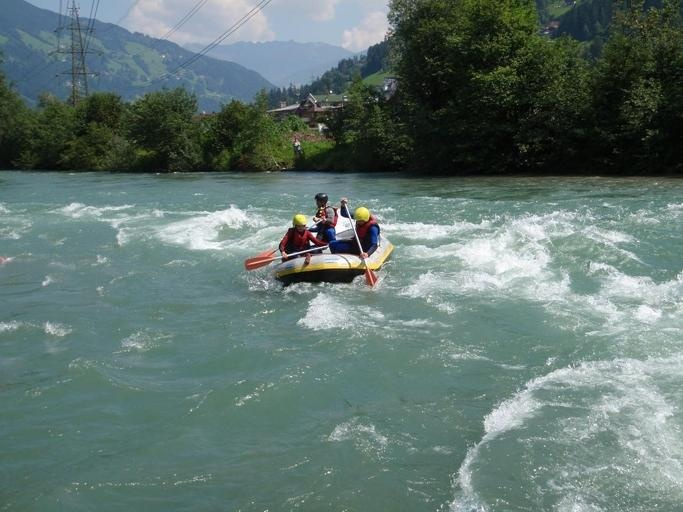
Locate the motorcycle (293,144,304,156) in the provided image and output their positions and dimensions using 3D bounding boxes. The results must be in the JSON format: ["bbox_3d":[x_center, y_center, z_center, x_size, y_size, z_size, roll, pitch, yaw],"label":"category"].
[{"bbox_3d":[-3.984,-9.829,60.309,0.802,1.054,1.644,-4,11,-2],"label":"motorcycle"}]

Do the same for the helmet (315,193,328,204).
[{"bbox_3d":[-0.632,-1.646,18.604,0.391,0.339,0.316,0,5,40],"label":"helmet"}]

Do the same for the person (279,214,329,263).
[{"bbox_3d":[-1.109,-0.448,17.103,1.393,1.206,0.963,-7,16,-27],"label":"person"}]

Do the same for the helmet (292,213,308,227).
[{"bbox_3d":[-1.147,-0.931,17.088,0.417,0.304,0.311,-15,-13,43],"label":"helmet"}]

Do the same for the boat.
[{"bbox_3d":[-0.333,0.260,17.717,2.529,1.099,4.073,-7,3,9],"label":"boat"}]
